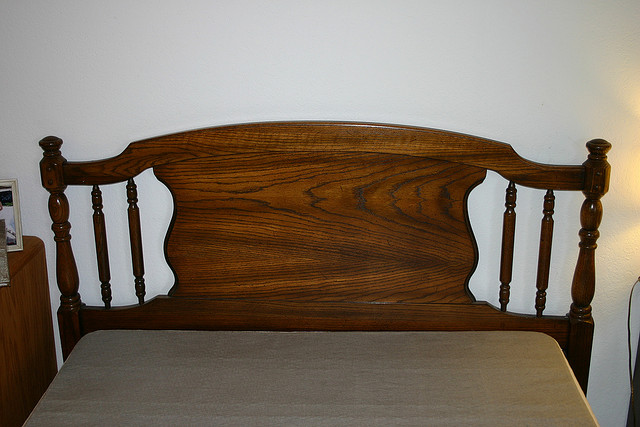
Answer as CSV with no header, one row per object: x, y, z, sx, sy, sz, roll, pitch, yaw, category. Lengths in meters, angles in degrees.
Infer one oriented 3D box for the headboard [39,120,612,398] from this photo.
0.007,0.226,1.716,1.930,0.935,0.089,-1,4,2,headboard
